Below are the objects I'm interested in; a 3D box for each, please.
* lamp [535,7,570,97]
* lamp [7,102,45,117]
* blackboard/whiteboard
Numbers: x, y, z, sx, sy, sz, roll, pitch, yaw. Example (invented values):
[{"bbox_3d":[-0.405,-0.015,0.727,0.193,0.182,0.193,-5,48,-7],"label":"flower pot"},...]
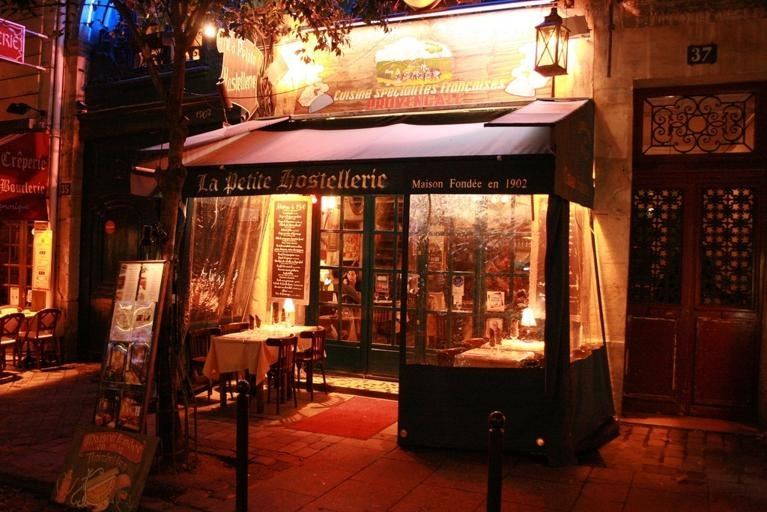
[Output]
[{"bbox_3d":[2.381,-3.011,9.194,0.446,0.895,0.810,-1,2,16],"label":"lamp"},{"bbox_3d":[-7.077,-2.916,12.813,0.583,0.191,0.337,7,-4,-37],"label":"lamp"},{"bbox_3d":[-1.636,-0.134,11.386,0.752,1.876,0.256,-1,2,27],"label":"blackboard/whiteboard"}]
